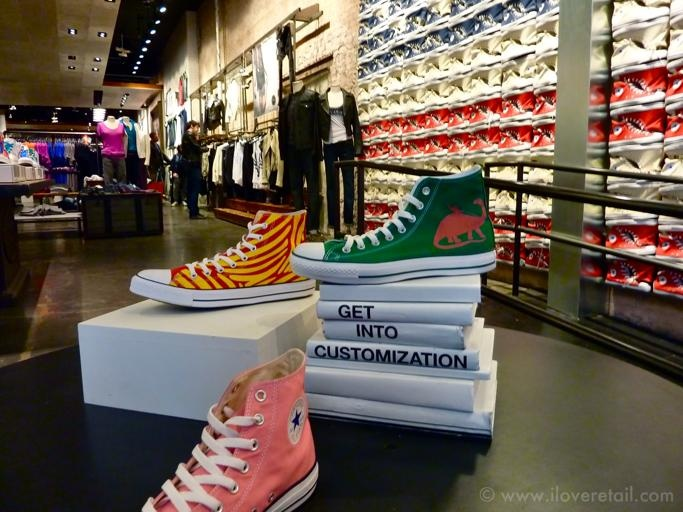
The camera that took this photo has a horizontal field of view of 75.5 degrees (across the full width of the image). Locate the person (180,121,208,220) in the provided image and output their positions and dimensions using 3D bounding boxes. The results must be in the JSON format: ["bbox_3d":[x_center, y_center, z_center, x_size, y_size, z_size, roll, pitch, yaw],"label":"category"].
[{"bbox_3d":[-2.851,-1.638,8.433,0.360,1.783,1.467,-5,11,-20],"label":"person"}]

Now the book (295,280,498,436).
[{"bbox_3d":[0.141,0.188,1.108,0.350,0.278,0.396,-1,3,16],"label":"book"}]

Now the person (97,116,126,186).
[{"bbox_3d":[-3.756,-1.752,7.283,0.394,1.079,0.395,-7,11,-29],"label":"person"}]
